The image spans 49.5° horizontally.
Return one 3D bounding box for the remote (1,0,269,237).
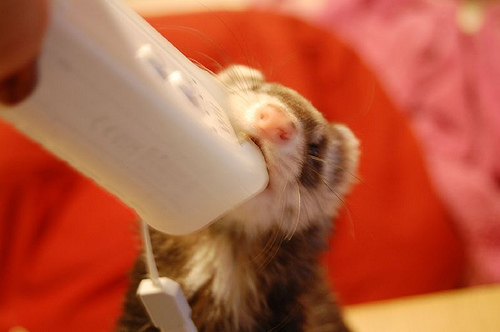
[{"bbox_3d":[-0.169,-0.013,0.778,0.355,0.098,0.263,46,51,-17],"label":"remote"}]
